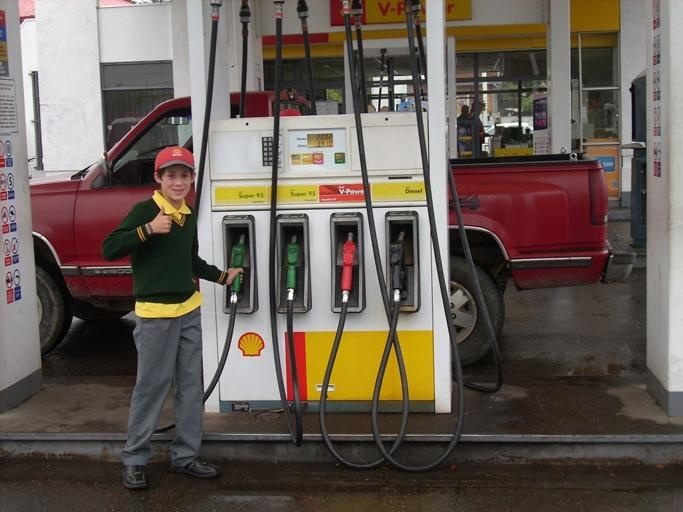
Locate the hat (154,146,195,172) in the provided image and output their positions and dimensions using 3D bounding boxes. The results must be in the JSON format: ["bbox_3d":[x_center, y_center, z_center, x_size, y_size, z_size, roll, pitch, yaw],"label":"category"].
[{"bbox_3d":[-1.182,-0.675,6.085,0.262,0.176,0.206,-4,7,-13],"label":"hat"}]

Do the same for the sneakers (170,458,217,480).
[{"bbox_3d":[-1.087,1.526,6.338,0.331,0.149,0.138,2,-3,9],"label":"sneakers"}]

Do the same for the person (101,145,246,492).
[{"bbox_3d":[-1.260,0.437,6.152,0.819,2.385,0.438,-4,7,-20],"label":"person"}]

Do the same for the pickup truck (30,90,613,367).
[{"bbox_3d":[-0.429,-0.313,9.162,5.899,2.771,2.522,0,1,3],"label":"pickup truck"}]
